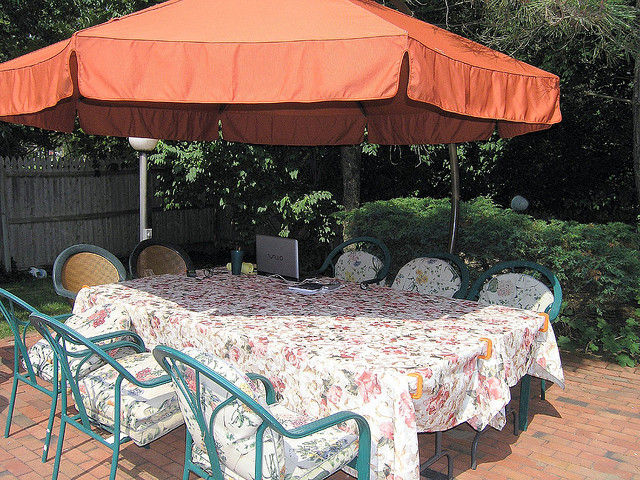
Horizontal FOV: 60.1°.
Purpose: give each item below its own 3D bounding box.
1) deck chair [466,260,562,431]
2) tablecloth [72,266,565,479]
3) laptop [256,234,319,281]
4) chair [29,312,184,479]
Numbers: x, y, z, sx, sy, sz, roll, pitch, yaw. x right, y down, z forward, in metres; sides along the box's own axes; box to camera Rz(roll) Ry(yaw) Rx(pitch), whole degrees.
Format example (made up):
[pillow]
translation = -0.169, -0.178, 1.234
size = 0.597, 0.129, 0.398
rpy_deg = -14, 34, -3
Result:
[deck chair]
translation = 1.850, 0.999, 5.194
size = 0.797, 1.631, 0.853
rpy_deg = -6, 14, -42
[tablecloth]
translation = -0.245, 0.806, 4.452
size = 3.049, 1.376, 2.961
rpy_deg = -1, 10, -37
[laptop]
translation = -0.324, 0.108, 5.388
size = 0.514, 0.403, 0.389
rpy_deg = 7, 20, 30
[chair]
translation = -1.490, 1.111, 3.941
size = 0.650, 1.191, 0.807
rpy_deg = 16, 24, 30
